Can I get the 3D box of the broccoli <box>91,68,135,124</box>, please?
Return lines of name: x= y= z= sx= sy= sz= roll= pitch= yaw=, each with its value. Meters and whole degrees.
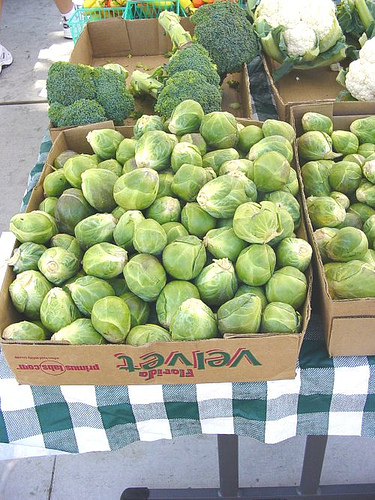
broccoli: x=-0.366 y=-0.741 z=2.082 sx=0.125 sy=0.255 sz=0.203 roll=13 pitch=36 yaw=45

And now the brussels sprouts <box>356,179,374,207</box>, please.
brussels sprouts: x=0.579 y=-0.180 z=1.338 sx=0.048 sy=0.057 sz=0.075 roll=-25 pitch=9 yaw=32

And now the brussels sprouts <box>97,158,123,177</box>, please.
brussels sprouts: x=-0.255 y=-0.270 z=1.412 sx=0.079 sy=0.042 sz=0.058 roll=4 pitch=55 yaw=6

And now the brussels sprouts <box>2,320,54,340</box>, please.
brussels sprouts: x=-0.401 y=0.188 z=1.037 sx=0.092 sy=0.049 sz=0.052 roll=5 pitch=27 yaw=-12

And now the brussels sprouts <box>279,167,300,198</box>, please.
brussels sprouts: x=0.325 y=-0.204 z=1.310 sx=0.051 sy=0.083 sz=0.069 roll=-16 pitch=-8 yaw=38

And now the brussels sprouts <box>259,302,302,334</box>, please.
brussels sprouts: x=0.221 y=0.160 z=0.986 sx=0.068 sy=0.072 sz=0.085 roll=-11 pitch=25 yaw=14

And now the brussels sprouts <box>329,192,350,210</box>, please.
brussels sprouts: x=0.489 y=-0.163 z=1.381 sx=0.062 sy=0.034 sz=0.048 roll=38 pitch=24 yaw=22

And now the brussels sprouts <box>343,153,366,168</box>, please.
brussels sprouts: x=0.590 y=-0.302 z=1.493 sx=0.060 sy=0.036 sz=0.066 roll=4 pitch=38 yaw=-11

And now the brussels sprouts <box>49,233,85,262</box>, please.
brussels sprouts: x=-0.348 y=-0.017 z=1.272 sx=0.072 sy=0.075 sz=0.092 roll=-39 pitch=64 yaw=-23

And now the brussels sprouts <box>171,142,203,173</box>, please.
brussels sprouts: x=0.007 y=-0.301 z=1.301 sx=0.096 sy=0.084 sz=0.078 roll=-22 pitch=73 yaw=-28

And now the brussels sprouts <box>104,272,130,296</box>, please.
brussels sprouts: x=-0.184 y=0.092 z=1.132 sx=0.049 sy=0.035 sz=0.061 roll=-21 pitch=69 yaw=-10

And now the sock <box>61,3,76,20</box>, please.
sock: x=-1.458 y=-2.931 z=5.225 sx=0.160 sy=0.170 sz=0.274 roll=-20 pitch=43 yaw=-13

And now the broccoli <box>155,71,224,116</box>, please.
broccoli: x=0.012 y=-0.691 z=1.880 sx=0.285 sy=0.164 sz=0.217 roll=-22 pitch=44 yaw=-17

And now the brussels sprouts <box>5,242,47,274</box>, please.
brussels sprouts: x=-0.451 y=0.019 z=1.177 sx=0.095 sy=0.070 sz=0.071 roll=-21 pitch=36 yaw=-24

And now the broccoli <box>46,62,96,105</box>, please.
broccoli: x=-0.543 y=-0.774 z=1.959 sx=0.228 sy=0.190 sz=0.104 roll=1 pitch=-2 yaw=9

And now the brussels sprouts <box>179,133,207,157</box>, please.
brussels sprouts: x=0.013 y=-0.357 z=1.427 sx=0.078 sy=0.077 sz=0.086 roll=7 pitch=66 yaw=0

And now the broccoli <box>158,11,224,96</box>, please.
broccoli: x=-0.020 y=-1.008 z=2.265 sx=0.265 sy=0.208 sz=0.693 roll=7 pitch=45 yaw=-23

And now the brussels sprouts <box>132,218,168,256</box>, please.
brussels sprouts: x=-0.103 y=-0.033 z=1.133 sx=0.077 sy=0.076 sz=0.092 roll=15 pitch=88 yaw=29

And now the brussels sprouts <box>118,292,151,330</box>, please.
brussels sprouts: x=-0.134 y=0.150 z=1.101 sx=0.065 sy=0.062 sz=0.081 roll=-24 pitch=38 yaw=6

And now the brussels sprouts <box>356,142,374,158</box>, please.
brussels sprouts: x=0.642 y=-0.360 z=1.510 sx=0.058 sy=0.047 sz=0.045 roll=23 pitch=88 yaw=36

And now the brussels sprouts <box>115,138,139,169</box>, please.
brussels sprouts: x=-0.215 y=-0.321 z=1.436 sx=0.095 sy=0.058 sz=0.072 roll=-54 pitch=27 yaw=-10

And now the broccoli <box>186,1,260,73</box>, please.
broccoli: x=0.183 y=-1.128 z=2.218 sx=0.373 sy=0.362 sz=0.120 roll=41 pitch=50 yaw=14

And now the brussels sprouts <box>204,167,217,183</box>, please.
brussels sprouts: x=0.073 y=-0.233 z=1.296 sx=0.043 sy=0.030 sz=0.052 roll=2 pitch=26 yaw=1

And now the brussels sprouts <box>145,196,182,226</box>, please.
brussels sprouts: x=-0.065 y=-0.114 z=1.248 sx=0.097 sy=0.073 sz=0.069 roll=-15 pitch=39 yaw=-17

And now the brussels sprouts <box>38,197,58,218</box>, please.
brussels sprouts: x=-0.445 y=-0.146 z=1.369 sx=0.066 sy=0.038 sz=0.052 roll=-25 pitch=43 yaw=19

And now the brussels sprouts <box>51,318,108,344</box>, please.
brussels sprouts: x=-0.263 y=0.203 z=1.001 sx=0.093 sy=0.051 sz=0.067 roll=-8 pitch=62 yaw=-7

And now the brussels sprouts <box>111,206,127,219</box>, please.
brussels sprouts: x=-0.198 y=-0.109 z=1.239 sx=0.042 sy=0.023 sz=0.030 roll=-7 pitch=58 yaw=10

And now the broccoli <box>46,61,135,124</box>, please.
broccoli: x=-0.450 y=-0.771 z=2.001 sx=0.348 sy=0.169 sz=0.285 roll=29 pitch=29 yaw=13

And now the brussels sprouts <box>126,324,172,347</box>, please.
brussels sprouts: x=-0.096 y=0.197 z=0.987 sx=0.071 sy=0.055 sz=0.040 roll=17 pitch=81 yaw=9

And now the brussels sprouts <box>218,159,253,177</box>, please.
brussels sprouts: x=0.144 y=-0.264 z=1.273 sx=0.082 sy=0.045 sz=0.062 roll=-23 pitch=43 yaw=-33

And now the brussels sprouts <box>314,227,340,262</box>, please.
brussels sprouts: x=0.393 y=-0.015 z=1.250 sx=0.061 sy=0.096 sz=0.077 roll=7 pitch=9 yaw=-39
